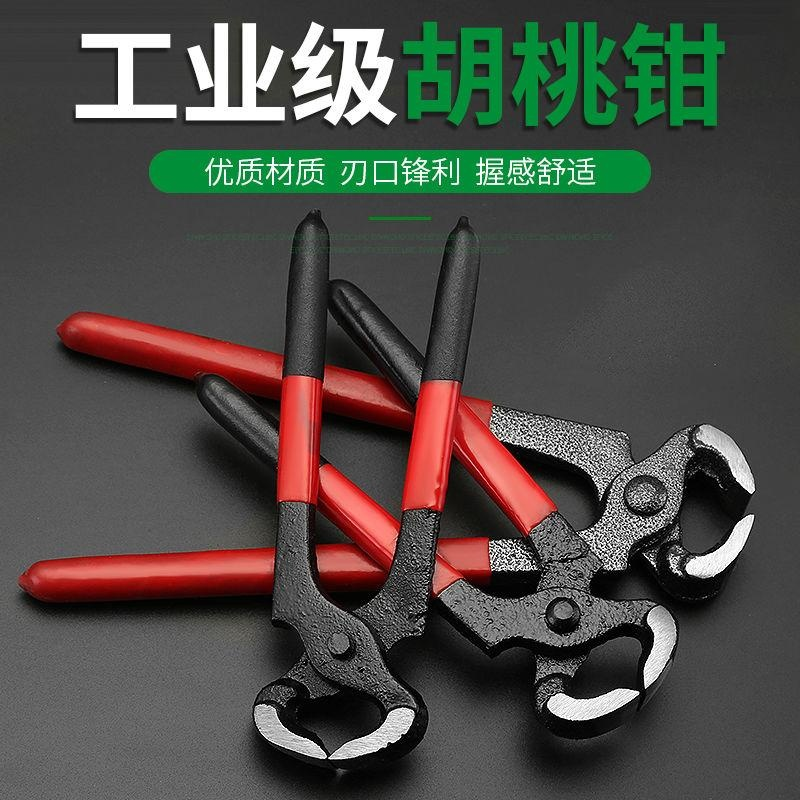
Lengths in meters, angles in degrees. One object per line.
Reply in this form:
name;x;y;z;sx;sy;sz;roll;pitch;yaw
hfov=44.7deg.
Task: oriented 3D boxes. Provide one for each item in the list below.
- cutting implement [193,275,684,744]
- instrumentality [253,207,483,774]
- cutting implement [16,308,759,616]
cutting implement;0.015;0.069;0.794;0.328;0.047;0.456;-15;50;-3
instrumentality;-0.028;0.046;0.738;0.165;0.048;0.427;2;55;4
cutting implement;-0.006;0.067;0.838;0.609;0.045;0.216;6;72;-4
